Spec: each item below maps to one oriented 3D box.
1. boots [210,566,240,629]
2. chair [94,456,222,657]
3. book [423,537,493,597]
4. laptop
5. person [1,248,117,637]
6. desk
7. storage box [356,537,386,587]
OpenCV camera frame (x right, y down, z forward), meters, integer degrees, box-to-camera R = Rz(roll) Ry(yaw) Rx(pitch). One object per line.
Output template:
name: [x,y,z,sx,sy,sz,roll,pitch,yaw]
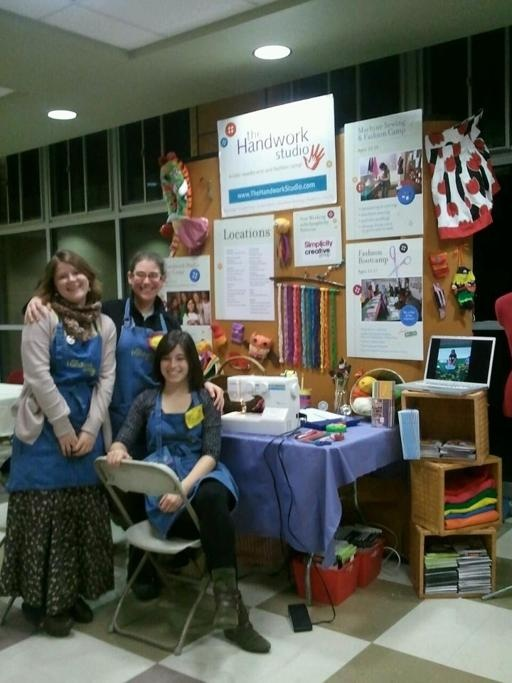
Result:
boots: [-0.121,0.922,1.920,0.088,0.285,0.201,1,44,-10]
chair: [-0.399,0.762,2.156,0.411,0.690,0.739,-1,-3,-11]
book: [0.894,0.994,2.514,0.177,0.106,0.270,-1,-6,3]
laptop: [0.860,0.090,2.542,0.373,0.262,0.393,1,-1,31]
person: [-0.774,0.379,2.194,0.450,1.474,0.354,0,-3,-21]
desk: [0.196,0.684,2.373,0.532,0.338,0.553,-1,1,31]
storage box: [0.532,1.017,2.581,0.129,0.137,0.168,-4,-5,37]
